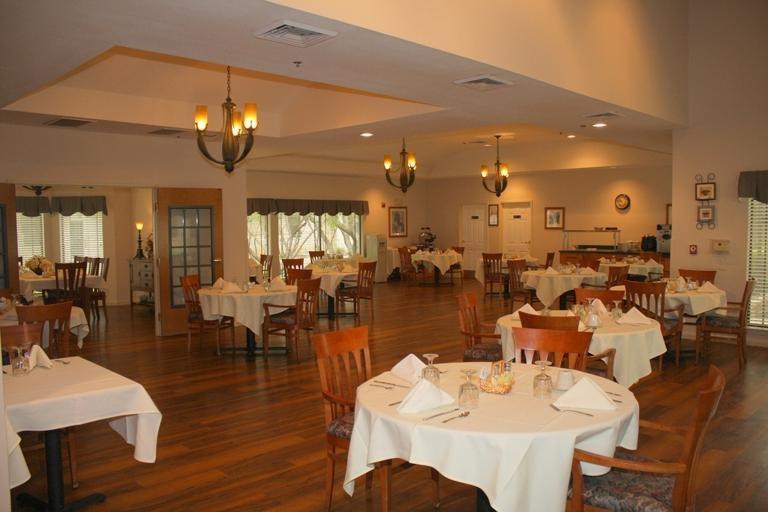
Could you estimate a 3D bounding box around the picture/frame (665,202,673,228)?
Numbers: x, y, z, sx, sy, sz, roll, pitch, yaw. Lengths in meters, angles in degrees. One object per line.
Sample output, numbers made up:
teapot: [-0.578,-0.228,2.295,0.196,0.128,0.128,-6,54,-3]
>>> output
picture/frame: [7.024,-1.045,13.267,0.125,0.538,0.863,-2,2,25]

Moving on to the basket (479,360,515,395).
basket: [0.816,0.886,3.946,0.226,0.226,0.227,3,-6,-7]

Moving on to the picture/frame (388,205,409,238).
picture/frame: [0.414,-1.133,17.492,0.075,1.169,1.017,0,2,40]

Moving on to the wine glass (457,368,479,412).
wine glass: [0.579,0.919,3.702,0.134,0.229,0.262,-3,2,20]

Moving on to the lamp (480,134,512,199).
lamp: [2.908,-2.303,13.794,0.670,1.628,0.664,-1,5,8]

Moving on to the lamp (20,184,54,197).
lamp: [-8.148,-1.534,12.680,0.725,0.229,0.599,-2,2,41]

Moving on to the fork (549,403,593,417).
fork: [1.253,1.027,3.561,0.231,0.032,0.035,4,-39,22]

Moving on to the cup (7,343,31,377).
cup: [-2.997,0.862,4.455,0.130,0.227,0.165,-1,3,42]

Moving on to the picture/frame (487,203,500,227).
picture/frame: [3.445,-1.278,16.927,0.091,0.724,0.461,-5,3,-37]

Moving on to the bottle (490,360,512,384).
bottle: [0.855,0.842,3.906,0.139,0.154,0.143,-6,1,17]

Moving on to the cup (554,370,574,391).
cup: [1.308,0.904,3.907,0.131,0.086,0.130,0,2,0]

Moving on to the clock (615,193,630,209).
clock: [6.305,-1.436,14.253,0.123,0.378,0.363,2,12,-45]

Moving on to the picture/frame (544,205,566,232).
picture/frame: [5.000,-1.098,15.611,0.754,0.845,0.058,3,5,44]

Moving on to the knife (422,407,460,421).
knife: [0.368,1.050,3.544,0.260,0.014,0.029,-6,31,-36]

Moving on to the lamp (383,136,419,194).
lamp: [0.331,-1.578,9.554,0.589,0.908,0.634,1,0,-24]

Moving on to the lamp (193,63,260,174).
lamp: [-1.764,-1.635,6.144,0.673,1.282,0.554,-3,-1,-3]
